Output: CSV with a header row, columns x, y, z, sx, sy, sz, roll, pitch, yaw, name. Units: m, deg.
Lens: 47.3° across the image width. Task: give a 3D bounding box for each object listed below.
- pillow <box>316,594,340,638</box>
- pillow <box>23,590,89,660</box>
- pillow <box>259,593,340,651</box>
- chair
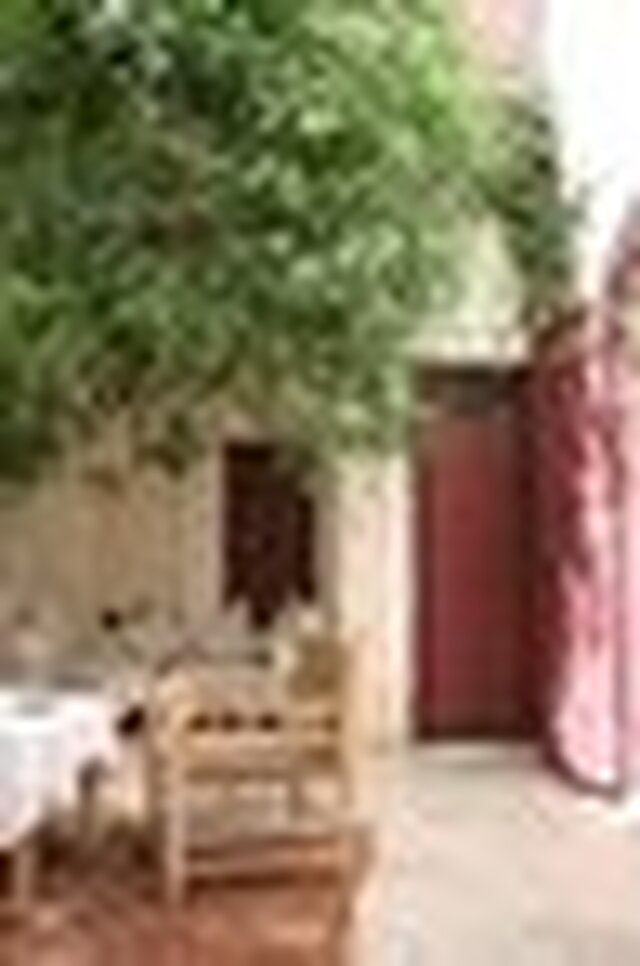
x,y,z,sx,sy,sz,roll,pitch,yaw,name
0.085,1.093,6.079,0.102,0.263,0.253,10,-25,-18,pillow
-2.478,1.329,6.804,0.231,0.465,0.643,-15,2,9,pillow
-0.217,1.263,6.808,0.689,0.681,0.212,-12,-37,41,pillow
-0.301,1.085,3.086,0.990,0.933,1.018,0,-8,18,chair
